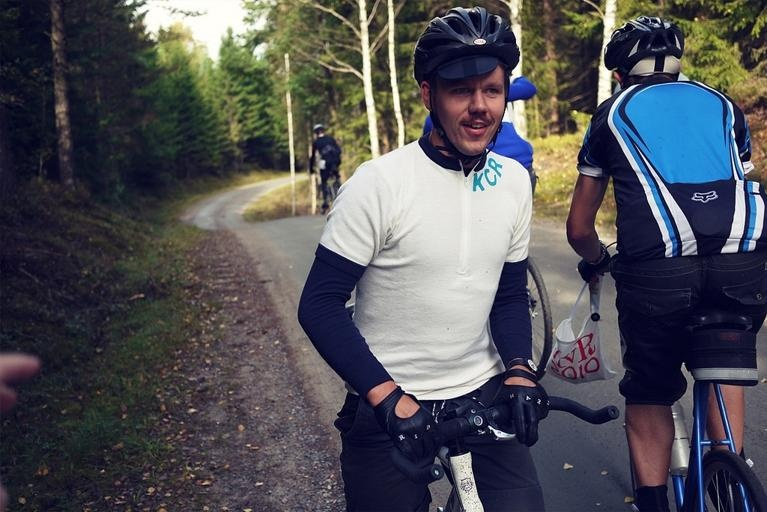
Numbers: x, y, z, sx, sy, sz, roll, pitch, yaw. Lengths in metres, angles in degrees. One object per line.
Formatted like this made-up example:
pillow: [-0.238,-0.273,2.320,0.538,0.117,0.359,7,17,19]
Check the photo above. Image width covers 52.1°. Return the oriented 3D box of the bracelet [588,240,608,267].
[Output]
bracelet: [1.821,-0.014,6.619,0.083,0.190,0.158,15,37,-7]

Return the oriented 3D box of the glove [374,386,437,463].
glove: [0.153,1.159,5.390,0.391,0.454,0.239,-7,15,-12]

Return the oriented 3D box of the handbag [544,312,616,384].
handbag: [1.911,0.913,7.611,0.794,0.889,0.448,1,16,12]

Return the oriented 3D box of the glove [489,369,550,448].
glove: [0.984,1.045,5.554,0.308,0.176,0.583,-3,61,-1]

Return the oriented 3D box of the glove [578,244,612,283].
glove: [1.801,0.084,6.642,0.313,0.143,0.251,-38,10,23]
